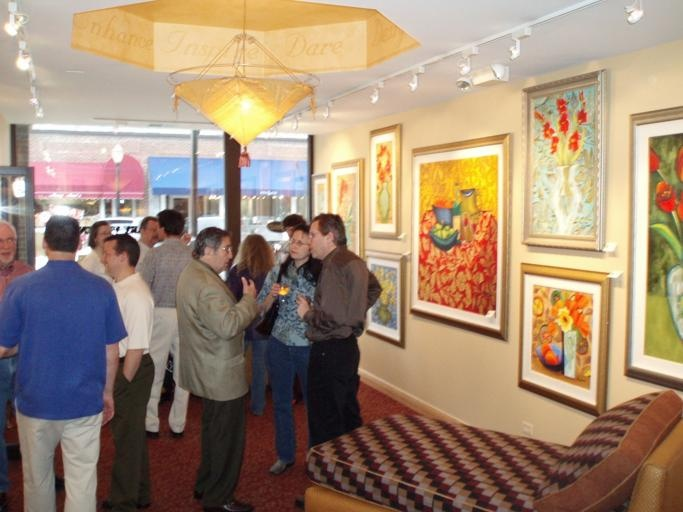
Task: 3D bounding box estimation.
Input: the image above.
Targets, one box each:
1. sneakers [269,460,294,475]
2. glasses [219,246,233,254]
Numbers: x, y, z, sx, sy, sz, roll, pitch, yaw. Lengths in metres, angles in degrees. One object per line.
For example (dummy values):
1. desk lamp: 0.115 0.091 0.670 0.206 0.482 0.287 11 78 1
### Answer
1. sneakers: -0.492 1.721 4.282 0.076 0.089 0.209 -2 -2 39
2. glasses: -0.825 -0.044 3.698 0.058 0.053 0.242 -8 7 -5
